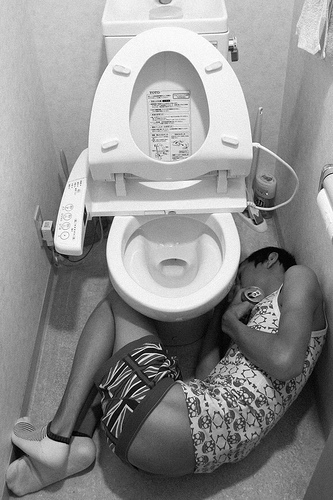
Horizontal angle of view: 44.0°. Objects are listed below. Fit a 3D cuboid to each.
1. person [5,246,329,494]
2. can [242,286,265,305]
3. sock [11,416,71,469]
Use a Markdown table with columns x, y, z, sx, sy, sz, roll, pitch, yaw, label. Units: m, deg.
| x | y | z | sx | sy | sz | roll | pitch | yaw | label |
| --- | --- | --- | --- | --- | --- | --- | --- | --- | --- |
| 0.015 | 0.321 | 1.164 | 0.778 | 0.481 | 0.600 | -8 | 63 | 1 | person |
| 0.241 | 0.125 | 1.148 | 0.043 | 0.046 | 0.051 | 12 | 79 | 4 | can |
| -0.311 | 0.470 | 1.017 | 0.148 | 0.085 | 0.061 | 41 | 93 | 33 | sock |
